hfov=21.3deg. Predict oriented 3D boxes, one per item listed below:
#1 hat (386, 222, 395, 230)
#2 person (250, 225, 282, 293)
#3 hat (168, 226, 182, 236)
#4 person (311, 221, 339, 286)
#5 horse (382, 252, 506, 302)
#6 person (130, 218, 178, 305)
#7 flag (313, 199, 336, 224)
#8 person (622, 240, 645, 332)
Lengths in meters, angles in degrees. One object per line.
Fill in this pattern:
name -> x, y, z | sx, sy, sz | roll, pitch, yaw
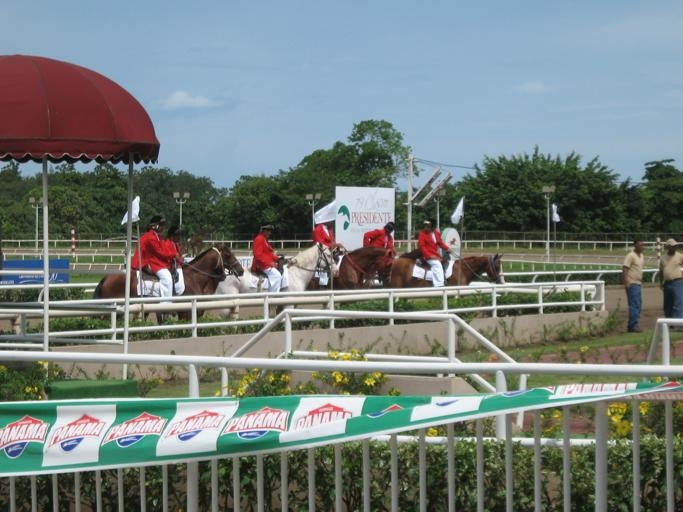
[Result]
hat -> 1.256, -0.750, 45.051 | 0.181, 0.185, 0.178 | -6, 6, -14
person -> -1.662, 0.078, 40.453 | 0.591, 1.487, 0.646 | -4, 11, -39
hat -> -3.563, -0.564, 38.976 | 0.072, 0.213, 0.225 | 19, -13, -38
person -> -0.340, -0.007, 42.773 | 0.564, 1.584, 0.513 | 7, 10, 41
horse -> 2.340, 0.646, 42.771 | 2.957, 1.716, 0.627 | 7, 7, 15
person -> -3.900, -0.022, 38.725 | 0.783, 1.675, 0.791 | 0, -1, -4
flag -> -0.390, -1.122, 45.855 | 0.574, 0.597, 1.588 | 0, 0, 4
person -> 6.329, 0.729, 39.114 | 0.551, 2.097, 0.484 | 6, 11, 44
